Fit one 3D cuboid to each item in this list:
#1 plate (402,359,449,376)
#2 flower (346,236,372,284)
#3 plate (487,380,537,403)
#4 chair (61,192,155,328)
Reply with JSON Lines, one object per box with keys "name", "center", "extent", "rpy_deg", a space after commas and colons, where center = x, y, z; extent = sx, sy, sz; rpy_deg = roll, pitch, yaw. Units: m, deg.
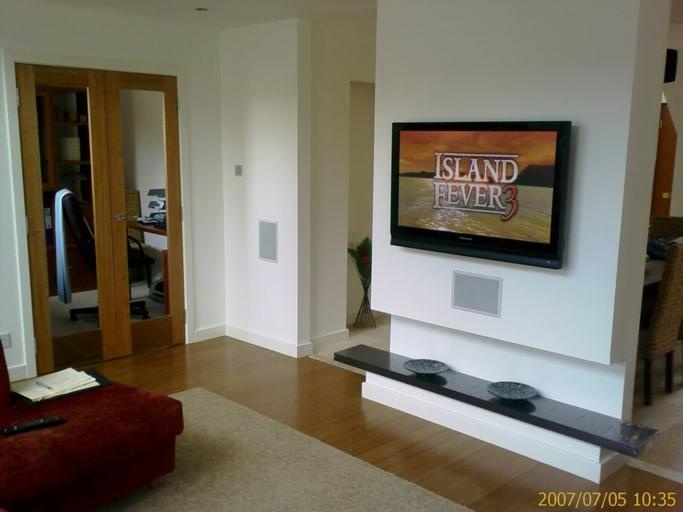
{"name": "plate", "center": [0.668, 0.883, 4.187], "extent": [0.337, 0.060, 0.215], "rpy_deg": [8, 16, 31]}
{"name": "flower", "center": [0.242, 0.032, 6.212], "extent": [0.380, 0.239, 0.456], "rpy_deg": [-8, 14, 13]}
{"name": "plate", "center": [1.231, 0.974, 3.765], "extent": [0.349, 0.071, 0.206], "rpy_deg": [6, 15, 24]}
{"name": "chair", "center": [-2.308, -0.008, 5.275], "extent": [0.844, 1.384, 0.726], "rpy_deg": [-5, 10, -26]}
